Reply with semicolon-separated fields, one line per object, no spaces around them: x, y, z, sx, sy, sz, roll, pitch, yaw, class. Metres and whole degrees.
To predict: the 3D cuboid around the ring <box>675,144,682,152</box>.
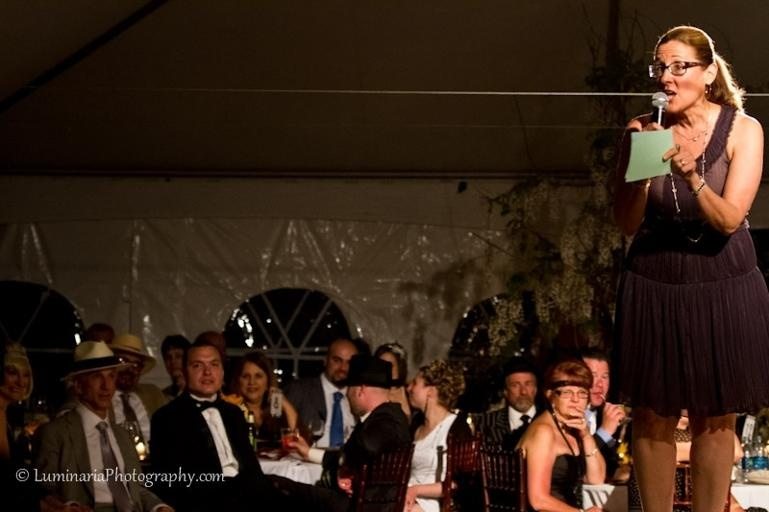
1.279;-0.471;4.238;0.026;0.041;0.016;0;3;22;ring

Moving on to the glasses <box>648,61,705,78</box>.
1.288;-0.819;4.291;0.227;0.080;0.073;2;3;19;glasses

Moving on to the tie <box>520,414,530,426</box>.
1.068;1.233;7.363;0.063;0.071;0.064;1;16;9;tie

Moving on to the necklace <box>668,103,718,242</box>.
1.370;-0.371;4.300;0.154;0.561;0.040;4;0;36;necklace

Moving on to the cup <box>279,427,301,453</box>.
-0.713;1.364;7.345;0.119;0.156;0.133;1;-12;1;cup

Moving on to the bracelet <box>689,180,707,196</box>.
1.357;-0.298;4.204;0.028;0.068;0.051;25;-7;-4;bracelet

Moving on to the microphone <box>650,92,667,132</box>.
1.209;-0.650;4.261;0.083;0.142;0.046;-1;4;-32;microphone

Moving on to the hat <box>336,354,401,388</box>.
-0.125;0.842;7.103;0.296;0.134;0.240;3;-9;11;hat

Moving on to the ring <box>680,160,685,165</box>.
1.284;-0.406;4.176;0.016;0.019;0.005;-2;-6;8;ring
